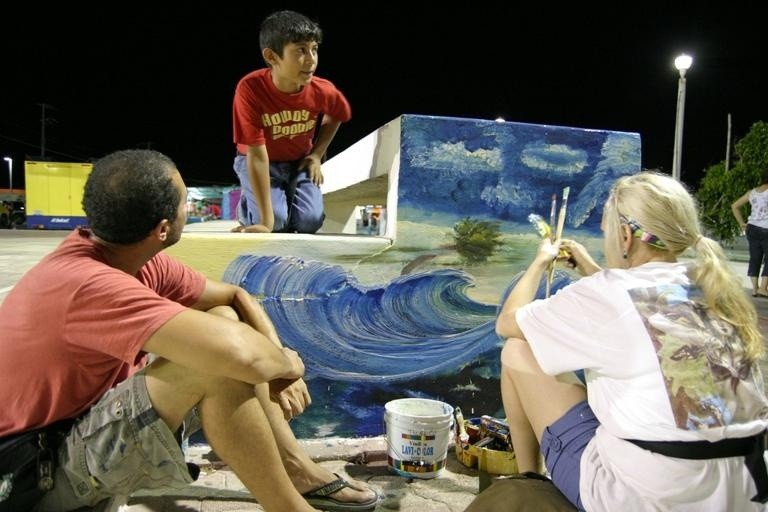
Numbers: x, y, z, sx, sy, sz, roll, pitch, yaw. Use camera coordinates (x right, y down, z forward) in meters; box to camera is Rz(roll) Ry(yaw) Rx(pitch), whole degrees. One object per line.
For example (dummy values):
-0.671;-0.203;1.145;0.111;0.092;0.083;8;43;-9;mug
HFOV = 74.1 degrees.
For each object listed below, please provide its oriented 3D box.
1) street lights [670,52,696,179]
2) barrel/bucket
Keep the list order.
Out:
7.368;-3.426;12.697;0.499;3.137;0.485;3;-2;4;street lights
0.215;1.190;3.320;0.429;0.412;0.324;3;4;3;barrel/bucket
